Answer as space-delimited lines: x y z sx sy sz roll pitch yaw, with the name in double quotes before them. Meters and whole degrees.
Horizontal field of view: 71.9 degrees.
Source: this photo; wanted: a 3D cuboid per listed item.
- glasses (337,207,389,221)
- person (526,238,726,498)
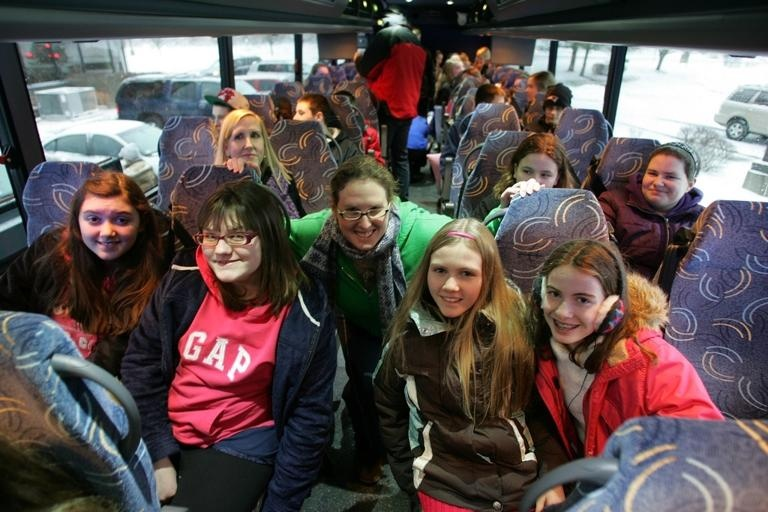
"glasses" -0.090 -0.174 2.190 0.197 0.056 0.055 1 22 0
"person" 0.805 0.359 1.868 0.589 0.760 0.391 6 24 12
